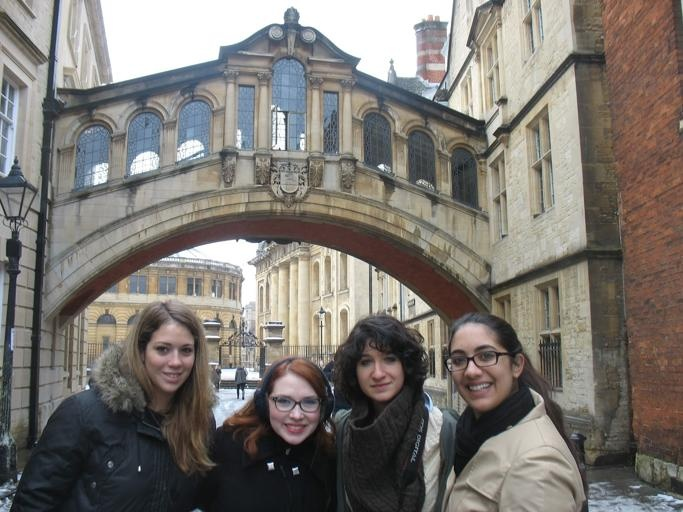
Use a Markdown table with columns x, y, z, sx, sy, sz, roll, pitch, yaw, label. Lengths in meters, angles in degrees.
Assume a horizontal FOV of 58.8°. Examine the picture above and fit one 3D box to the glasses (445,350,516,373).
| x | y | z | sx | sy | sz | roll | pitch | yaw | label |
| --- | --- | --- | --- | --- | --- | --- | --- | --- | --- |
| 1.012 | 0.753 | 4.383 | 0.508 | 0.138 | 0.221 | -7 | -15 | 9 | glasses |
